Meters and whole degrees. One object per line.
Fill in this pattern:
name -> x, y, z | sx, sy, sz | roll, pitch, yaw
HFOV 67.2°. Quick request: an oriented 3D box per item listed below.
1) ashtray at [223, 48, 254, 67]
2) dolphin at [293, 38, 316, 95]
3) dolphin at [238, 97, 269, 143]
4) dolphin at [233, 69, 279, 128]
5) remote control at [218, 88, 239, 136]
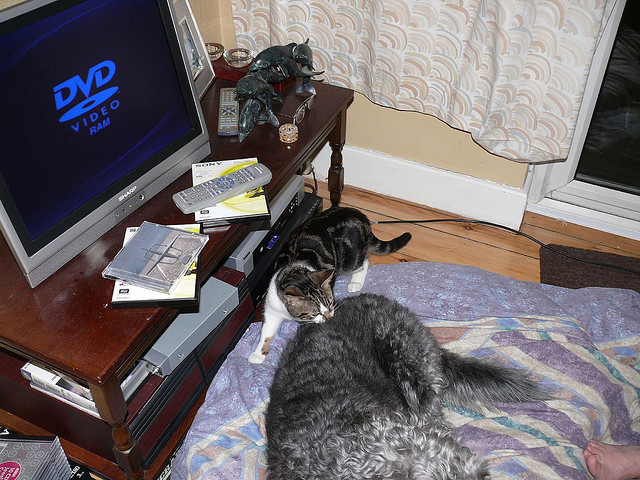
ashtray -> -0.400, -0.886, 2.335 | 0.120, 0.045, 0.118 | -21, 45, -24
dolphin -> -0.053, -0.786, 2.205 | 0.135, 0.216, 0.065 | 18, 46, 21
dolphin -> -0.281, -0.503, 2.044 | 0.125, 0.173, 0.052 | 17, -1, 8
dolphin -> -0.250, -0.604, 2.066 | 0.148, 0.215, 0.189 | -22, 42, -38
remote control -> -0.423, -0.528, 2.114 | 0.088, 0.029, 0.296 | -5, 38, -16
